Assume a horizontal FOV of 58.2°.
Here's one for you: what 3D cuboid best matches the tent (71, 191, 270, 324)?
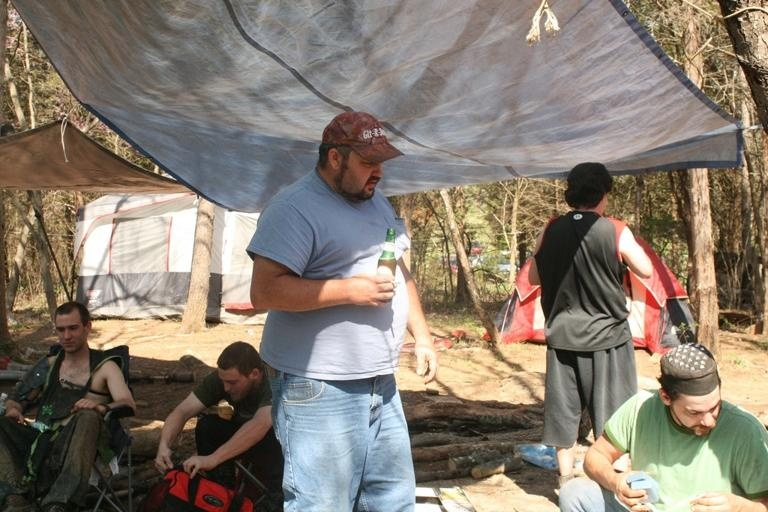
[{"bbox_3d":[-5.123,0.091,17.394,4.321,2.579,4.003,1,-4,-1],"label":"tent"}]

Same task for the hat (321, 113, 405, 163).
[{"bbox_3d":[-0.116,-0.765,4.262,0.539,0.246,0.345,22,34,36],"label":"hat"}]

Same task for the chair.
[{"bbox_3d":[-2.326,1.323,5.435,0.645,1.206,0.614,2,-6,-25],"label":"chair"}]

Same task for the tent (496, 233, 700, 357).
[{"bbox_3d":[3.694,0.990,12.067,2.890,1.676,2.626,-1,2,13],"label":"tent"}]
